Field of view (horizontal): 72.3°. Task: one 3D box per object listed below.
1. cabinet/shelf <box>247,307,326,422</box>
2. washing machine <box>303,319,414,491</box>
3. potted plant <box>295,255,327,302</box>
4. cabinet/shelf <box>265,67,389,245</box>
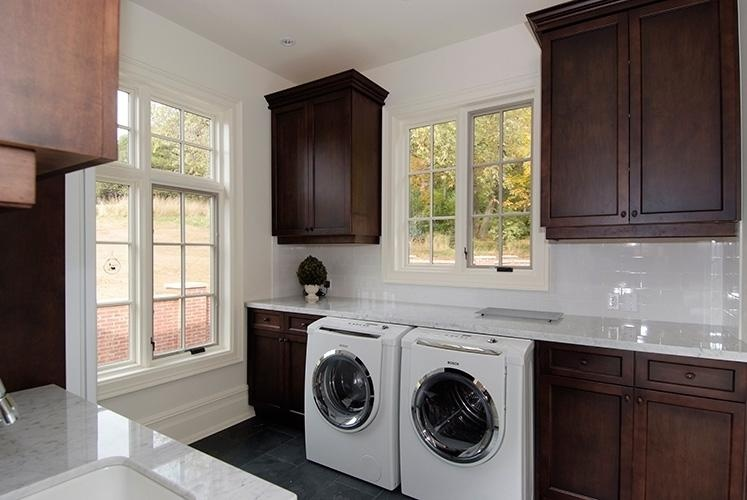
[{"bbox_3d":[-0.629,0.924,4.396,0.787,0.980,0.488,5,9,20],"label":"cabinet/shelf"},{"bbox_3d":[-0.057,1.032,3.722,0.821,1.016,0.570,2,4,41],"label":"washing machine"},{"bbox_3d":[-0.562,0.256,4.633,0.254,0.352,0.258,-1,4,-16],"label":"potted plant"},{"bbox_3d":[-0.427,-0.743,4.426,1.029,1.424,0.508,0,7,16],"label":"cabinet/shelf"}]
